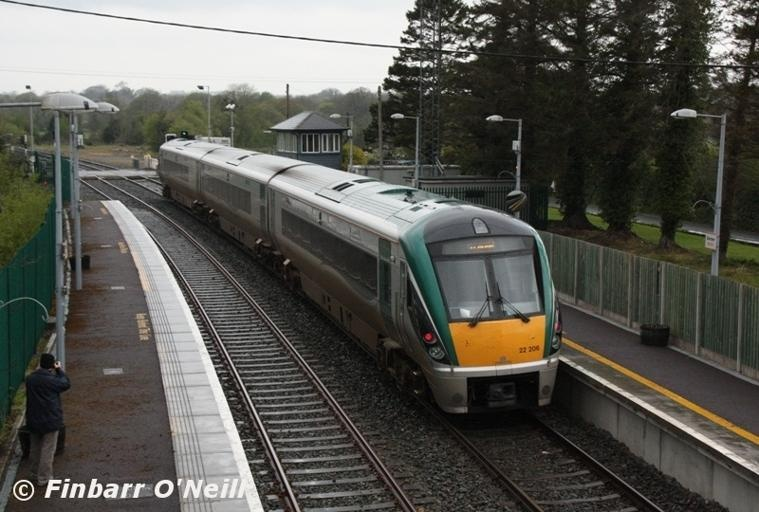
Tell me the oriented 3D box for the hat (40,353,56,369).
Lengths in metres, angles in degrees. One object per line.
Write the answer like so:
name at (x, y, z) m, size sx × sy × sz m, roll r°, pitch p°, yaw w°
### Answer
hat at (-6.129, 1.942, 10.889) m, size 0.226 × 0.294 × 0.309 m, roll 0°, pitch -8°, yaw -26°
